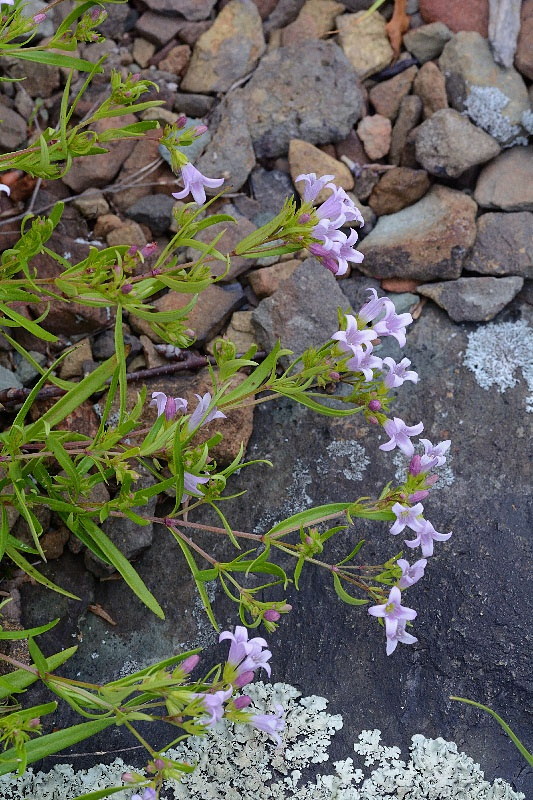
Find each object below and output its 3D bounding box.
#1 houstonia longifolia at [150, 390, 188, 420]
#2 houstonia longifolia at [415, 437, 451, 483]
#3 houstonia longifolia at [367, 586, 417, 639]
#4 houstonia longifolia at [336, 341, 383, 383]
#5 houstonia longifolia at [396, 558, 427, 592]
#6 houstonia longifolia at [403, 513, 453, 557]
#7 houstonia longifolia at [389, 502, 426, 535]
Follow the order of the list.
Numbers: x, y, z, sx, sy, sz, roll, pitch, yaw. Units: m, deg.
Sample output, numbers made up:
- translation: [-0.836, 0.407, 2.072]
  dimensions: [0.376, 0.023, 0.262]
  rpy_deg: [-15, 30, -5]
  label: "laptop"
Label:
- translation: [-0.251, 0.013, 1.852]
  dimensions: [0.086, 0.073, 0.084]
  rpy_deg: [6, 4, 8]
  label: "houstonia longifolia"
- translation: [0.484, 0.178, 2.153]
  dimensions: [0.090, 0.125, 0.086]
  rpy_deg: [16, 39, -19]
  label: "houstonia longifolia"
- translation: [0.305, 0.531, 1.844]
  dimensions: [0.145, 0.127, 0.047]
  rpy_deg: [5, 9, -11]
  label: "houstonia longifolia"
- translation: [0.232, -0.098, 1.879]
  dimensions: [0.104, 0.054, 0.099]
  rpy_deg: [19, 65, -40]
  label: "houstonia longifolia"
- translation: [0.361, 0.448, 1.893]
  dimensions: [0.071, 0.128, 0.058]
  rpy_deg: [-5, 44, -8]
  label: "houstonia longifolia"
- translation: [0.404, 0.358, 1.958]
  dimensions: [0.115, 0.054, 0.185]
  rpy_deg: [-10, 9, -19]
  label: "houstonia longifolia"
- translation: [0.350, 0.308, 1.880]
  dimensions: [0.073, 0.077, 0.087]
  rpy_deg: [5, 43, 3]
  label: "houstonia longifolia"
